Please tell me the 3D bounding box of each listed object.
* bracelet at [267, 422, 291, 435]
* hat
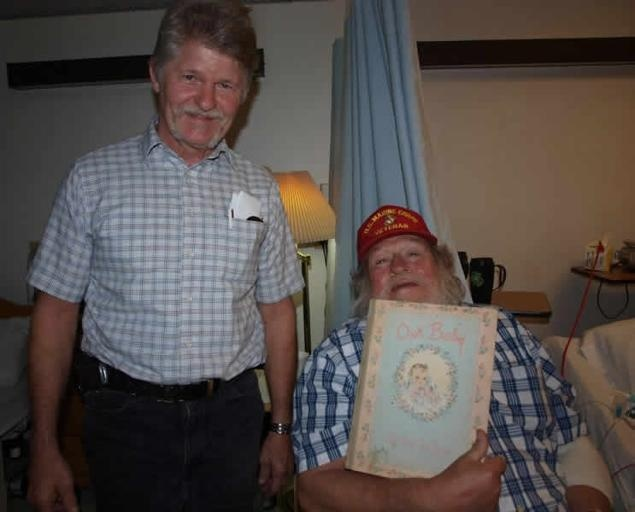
[{"bbox_3d":[-0.127,0.587,1.926,0.046,0.029,0.048,10,0,-7],"label":"bracelet"},{"bbox_3d":[0.309,-0.123,2.289,0.279,0.197,0.389,-9,13,16],"label":"hat"}]
